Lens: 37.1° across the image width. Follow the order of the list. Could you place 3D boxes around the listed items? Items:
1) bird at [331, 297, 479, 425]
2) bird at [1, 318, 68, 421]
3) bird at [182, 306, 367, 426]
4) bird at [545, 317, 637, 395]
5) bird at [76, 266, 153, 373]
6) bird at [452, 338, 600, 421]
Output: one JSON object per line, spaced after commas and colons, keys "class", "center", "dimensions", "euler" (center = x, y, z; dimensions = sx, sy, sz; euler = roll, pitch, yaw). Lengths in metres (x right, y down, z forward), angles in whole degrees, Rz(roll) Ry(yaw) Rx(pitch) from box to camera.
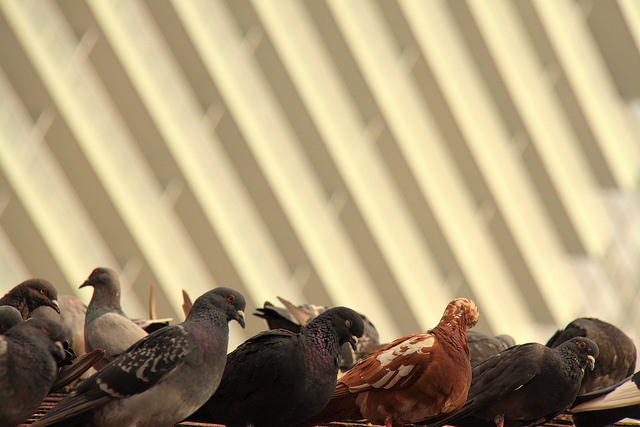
{"class": "bird", "center": [0.623, 1.078, 6.713], "dimensions": [0.910, 0.924, 0.608], "euler": [-4, -31, 8]}
{"class": "bird", "center": [-1.858, 0.990, 6.144], "dimensions": [0.532, 0.658, 0.350], "euler": [-8, -23, 31]}
{"class": "bird", "center": [-0.234, 1.263, 6.838], "dimensions": [1.223, 1.015, 0.683], "euler": [-11, -40, 14]}
{"class": "bird", "center": [2.050, 1.126, 7.426], "dimensions": [0.504, 0.538, 0.639], "euler": [38, -37, -27]}
{"class": "bird", "center": [-1.542, 0.792, 7.052], "dimensions": [0.520, 0.736, 0.374], "euler": [0, -33, 12]}
{"class": "bird", "center": [1.513, 1.290, 6.982], "dimensions": [0.980, 0.734, 0.559], "euler": [2, -33, 20]}
